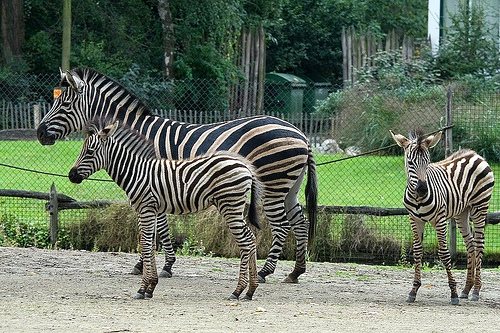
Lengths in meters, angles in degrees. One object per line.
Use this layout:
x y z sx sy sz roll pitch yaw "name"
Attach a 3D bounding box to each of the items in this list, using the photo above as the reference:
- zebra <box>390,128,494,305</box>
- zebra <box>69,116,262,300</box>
3.569 0.824 16.538 1.817 3.012 1.071 -4 14 -24 "zebra"
-1.417 0.766 16.049 3.180 2.902 0.896 3 13 4 "zebra"
